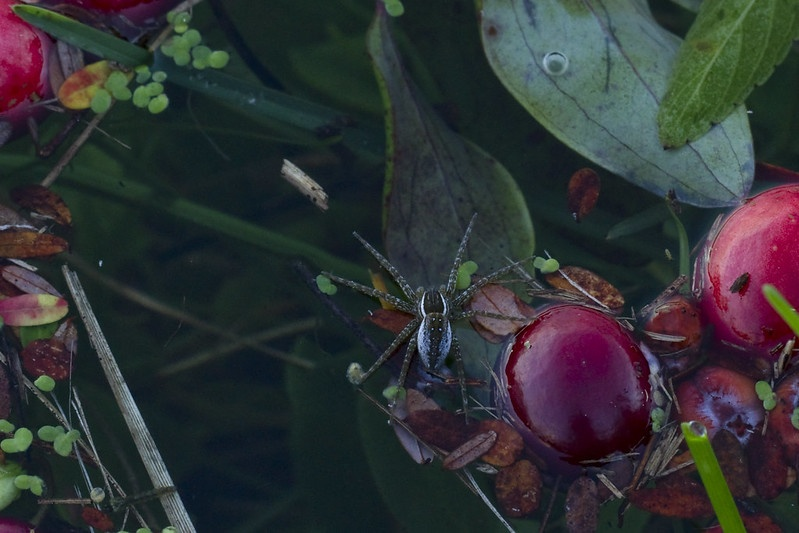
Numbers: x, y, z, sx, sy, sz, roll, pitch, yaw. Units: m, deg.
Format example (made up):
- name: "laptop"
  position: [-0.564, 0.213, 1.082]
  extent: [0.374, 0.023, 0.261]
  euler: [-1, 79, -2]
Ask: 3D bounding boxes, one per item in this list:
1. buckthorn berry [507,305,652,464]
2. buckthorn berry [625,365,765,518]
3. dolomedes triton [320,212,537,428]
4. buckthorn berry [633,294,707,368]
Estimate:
- name: "buckthorn berry"
  position: [0.590, 0.422, 3.548]
  extent: [0.434, 0.510, 0.292]
  euler: [-20, -3, 0]
- name: "buckthorn berry"
  position: [1.007, 0.600, 3.489]
  extent: [0.471, 0.490, 0.144]
  euler: [-6, -17, 13]
- name: "dolomedes triton"
  position: [0.127, 0.213, 3.558]
  extent: [0.803, 0.694, 0.205]
  euler: [-5, 3, 1]
- name: "buckthorn berry"
  position: [0.925, 0.226, 3.511]
  extent: [0.165, 0.260, 0.226]
  euler: [0, -5, 13]
